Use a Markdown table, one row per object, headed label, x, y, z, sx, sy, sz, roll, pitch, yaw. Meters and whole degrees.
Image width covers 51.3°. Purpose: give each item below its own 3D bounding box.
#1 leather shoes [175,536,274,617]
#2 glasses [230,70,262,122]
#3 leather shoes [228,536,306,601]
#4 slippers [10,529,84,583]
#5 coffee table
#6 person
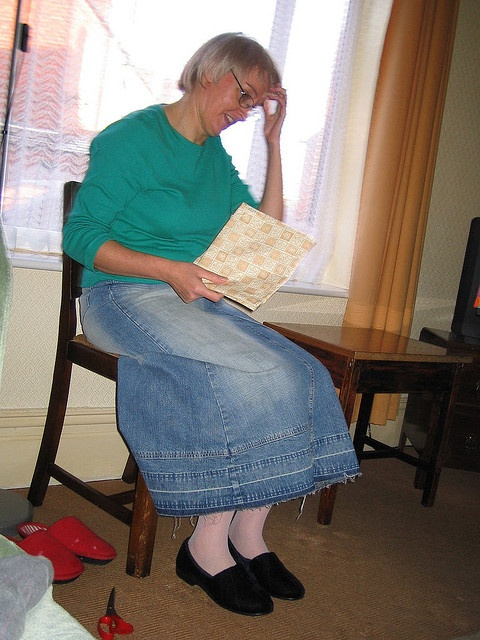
| label | x | y | z | sx | sy | sz | roll | pitch | yaw |
| --- | --- | --- | --- | --- | --- | --- | --- | --- | --- |
| leather shoes | -0.034 | 0.539 | 1.060 | 0.232 | 0.087 | 0.087 | 18 | 15 | 29 |
| glasses | 0.015 | -0.530 | 1.140 | 0.021 | 0.066 | 0.066 | -28 | 70 | -9 |
| leather shoes | 0.072 | 0.548 | 1.057 | 0.196 | 0.060 | 0.071 | 30 | 13 | 14 |
| slippers | -0.375 | 0.470 | 1.015 | 0.175 | 0.057 | 0.070 | 12 | 16 | 38 |
| coffee table | 0.416 | 0.292 | 1.615 | 0.427 | 0.356 | 0.387 | 14 | -7 | -27 |
| person | -0.054 | -0.036 | 1.102 | 0.640 | 1.094 | 0.503 | 22 | 22 | 38 |
